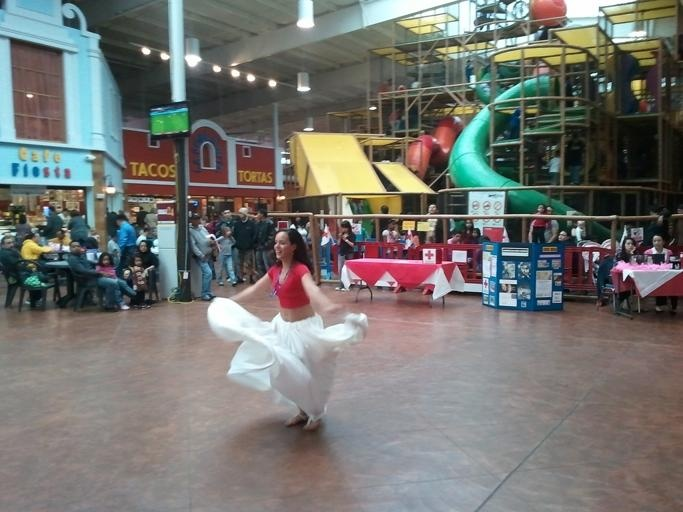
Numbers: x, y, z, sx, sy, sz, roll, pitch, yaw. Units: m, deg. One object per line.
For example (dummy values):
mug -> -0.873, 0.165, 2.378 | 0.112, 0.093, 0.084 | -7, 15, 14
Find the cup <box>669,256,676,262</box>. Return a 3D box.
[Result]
cup -> 6.050, 0.043, 10.814 | 0.184, 0.125, 0.098 | 1, -3, -35

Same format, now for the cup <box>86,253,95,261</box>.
cup -> -5.693, 0.008, 13.343 | 0.165, 0.191, 0.167 | 1, 11, 0

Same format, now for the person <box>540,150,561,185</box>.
person -> 6.267, -2.704, 17.550 | 0.539, 1.065, 0.313 | 0, 5, 33

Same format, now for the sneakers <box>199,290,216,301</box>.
sneakers -> -2.967, 0.900, 13.106 | 0.448, 0.178, 0.159 | -9, -8, 43

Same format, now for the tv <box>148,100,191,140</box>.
tv -> -3.597, -2.911, 12.423 | 1.067, 0.740, 0.225 | -1, 4, 24

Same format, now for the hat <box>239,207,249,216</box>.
hat -> -2.429, -1.125, 14.698 | 0.204, 0.251, 0.246 | 0, 23, -17

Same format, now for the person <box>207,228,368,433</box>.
person -> -0.524, 0.738, 5.596 | 1.393, 1.987, 0.842 | -4, 4, -10

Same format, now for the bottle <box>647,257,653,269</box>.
bottle -> 5.512, 0.067, 10.547 | 0.106, 0.160, 0.374 | -1, 4, 28

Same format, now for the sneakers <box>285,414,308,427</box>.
sneakers -> -0.450, 1.672, 5.930 | 0.179, 0.046, 0.105 | -7, 14, -40
